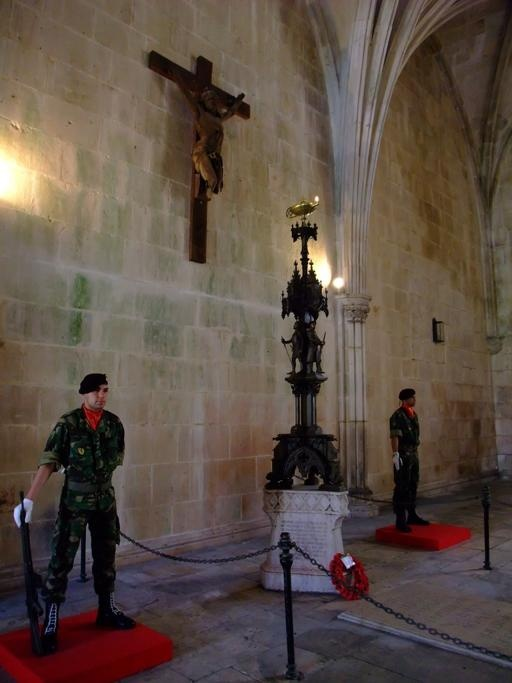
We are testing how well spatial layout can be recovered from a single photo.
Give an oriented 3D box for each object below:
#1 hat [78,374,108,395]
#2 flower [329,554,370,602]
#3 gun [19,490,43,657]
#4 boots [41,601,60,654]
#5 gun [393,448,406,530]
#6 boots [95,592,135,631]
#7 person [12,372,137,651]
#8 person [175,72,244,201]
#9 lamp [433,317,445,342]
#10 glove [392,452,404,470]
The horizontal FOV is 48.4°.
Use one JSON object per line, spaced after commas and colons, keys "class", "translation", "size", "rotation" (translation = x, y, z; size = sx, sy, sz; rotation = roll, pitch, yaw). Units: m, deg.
{"class": "hat", "translation": [-0.952, 0.245, 3.339], "size": [0.130, 0.126, 0.112], "rotation": [1, -4, 9]}
{"class": "flower", "translation": [0.680, 1.811, 4.324], "size": [0.379, 0.138, 0.353], "rotation": [-8, -36, 43]}
{"class": "gun", "translation": [-1.219, 1.229, 3.085], "size": [0.127, 0.781, 0.511], "rotation": [3, -7, -22]}
{"class": "boots", "translation": [-1.073, 1.488, 2.973], "size": [0.083, 0.230, 0.225], "rotation": [2, -7, -20]}
{"class": "gun", "translation": [1.578, 1.701, 6.347], "size": [0.111, 0.835, 0.134], "rotation": [3, -12, -20]}
{"class": "boots", "translation": [-0.831, 1.573, 3.326], "size": [0.275, 0.273, 0.129], "rotation": [-1, -7, 6]}
{"class": "person", "translation": [-1.001, 0.913, 3.238], "size": [0.321, 1.487, 0.665], "rotation": [-4, -8, 37]}
{"class": "person", "translation": [-0.516, -2.316, 6.416], "size": [0.724, 1.237, 0.377], "rotation": [1, -6, -8]}
{"class": "lamp", "translation": [3.724, -0.227, 11.665], "size": [0.125, 0.535, 0.483], "rotation": [-4, -7, 33]}
{"class": "glove", "translation": [1.577, 1.336, 6.341], "size": [0.071, 0.218, 0.317], "rotation": [-2, -7, 18]}
